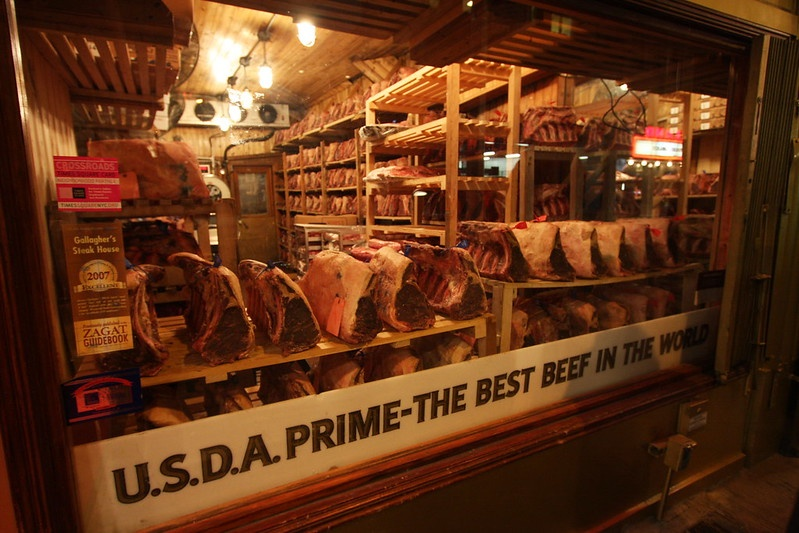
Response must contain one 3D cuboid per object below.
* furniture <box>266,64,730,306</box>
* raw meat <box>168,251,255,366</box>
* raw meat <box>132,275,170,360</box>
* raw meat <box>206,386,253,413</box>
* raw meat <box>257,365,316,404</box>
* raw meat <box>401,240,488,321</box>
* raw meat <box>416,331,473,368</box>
[{"bbox_3d":[0.753,-0.539,3.590,1.736,1.496,0.544,-2,7,-22],"label":"furniture"},{"bbox_3d":[-0.879,0.134,2.736,0.323,0.484,0.641,-8,23,-27],"label":"raw meat"},{"bbox_3d":[-1.112,0.210,2.517,0.107,0.392,0.335,-8,10,-19],"label":"raw meat"},{"bbox_3d":[-0.796,0.609,2.600,0.138,0.055,0.188,-4,10,-22],"label":"raw meat"},{"bbox_3d":[-0.551,0.573,2.736,0.194,0.071,0.249,-3,4,-25],"label":"raw meat"},{"bbox_3d":[0.229,0.089,2.970,0.154,0.183,0.406,-15,18,-24],"label":"raw meat"},{"bbox_3d":[0.251,0.438,3.014,0.231,0.071,0.227,-8,3,27],"label":"raw meat"}]
